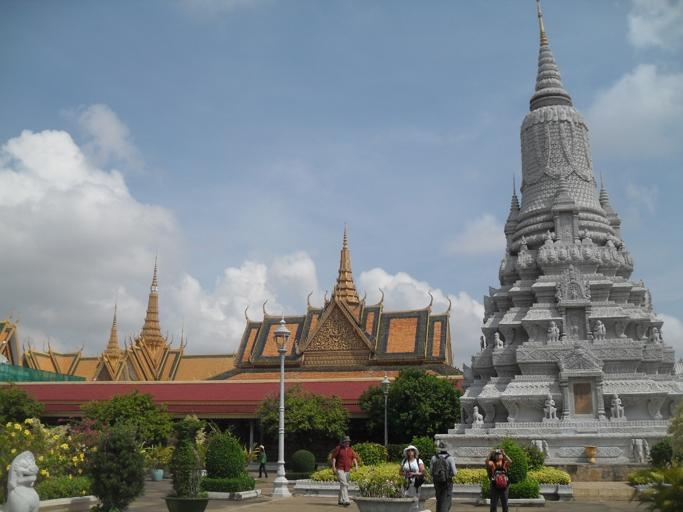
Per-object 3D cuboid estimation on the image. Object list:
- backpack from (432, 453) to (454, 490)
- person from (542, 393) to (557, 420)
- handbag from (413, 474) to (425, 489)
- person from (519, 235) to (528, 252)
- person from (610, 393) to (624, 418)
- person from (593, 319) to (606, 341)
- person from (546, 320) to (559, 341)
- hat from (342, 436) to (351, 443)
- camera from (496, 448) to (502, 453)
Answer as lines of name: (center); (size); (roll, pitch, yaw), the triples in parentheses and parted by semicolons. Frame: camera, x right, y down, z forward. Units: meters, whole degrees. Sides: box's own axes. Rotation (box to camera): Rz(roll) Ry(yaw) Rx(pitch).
backpack: (2.473, 5.311, 24.007); (0.523, 0.839, 0.381); (0, -17, 5)
person: (7.188, 5.239, 33.539); (0.447, 0.916, 0.488); (-3, -18, 12)
handbag: (1.955, 5.723, 24.558); (0.221, 0.347, 0.528); (-3, -18, 12)
person: (7.064, -0.475, 37.868); (0.316, 0.705, 0.315); (-21, -46, 19)
person: (9.392, 5.180, 33.236); (0.399, 0.861, 0.603); (-3, -18, 14)
person: (9.184, 2.667, 34.746); (0.410, 0.780, 0.549); (-3, -18, 14)
person: (7.575, 2.718, 34.863); (0.423, 0.838, 0.482); (-3, -18, 13)
hat: (0.160, 5.100, 26.820); (0.297, 0.154, 0.290); (1, -7, -14)
camera: (3.995, 4.994, 24.765); (0.134, 0.148, 0.340); (-2, -17, 9)
